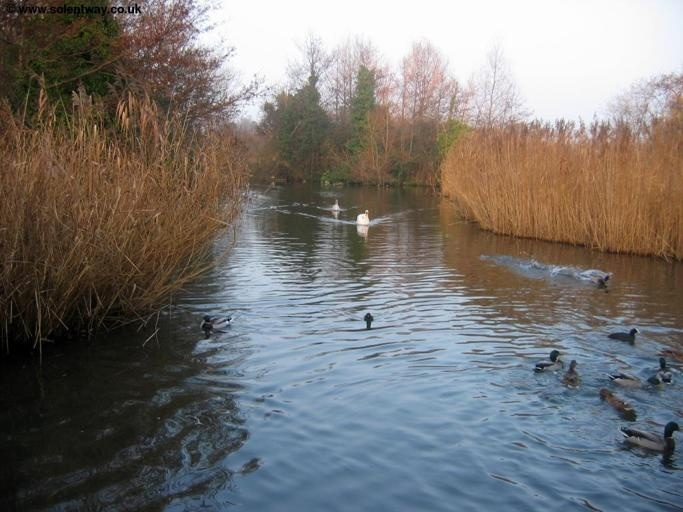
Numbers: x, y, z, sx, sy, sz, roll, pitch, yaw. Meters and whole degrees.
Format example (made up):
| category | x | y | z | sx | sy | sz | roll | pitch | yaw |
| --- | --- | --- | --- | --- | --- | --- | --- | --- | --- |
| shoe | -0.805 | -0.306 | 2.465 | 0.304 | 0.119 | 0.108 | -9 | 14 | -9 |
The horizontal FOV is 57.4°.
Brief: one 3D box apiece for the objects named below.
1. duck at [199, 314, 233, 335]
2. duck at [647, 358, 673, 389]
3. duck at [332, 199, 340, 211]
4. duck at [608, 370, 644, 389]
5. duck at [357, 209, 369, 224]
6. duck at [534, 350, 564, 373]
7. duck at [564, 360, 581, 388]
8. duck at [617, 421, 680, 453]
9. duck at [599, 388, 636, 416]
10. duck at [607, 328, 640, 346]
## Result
| category | x | y | z | sx | sy | sz | roll | pitch | yaw |
| --- | --- | --- | --- | --- | --- | --- | --- | --- | --- |
| duck | -2.387 | 1.286 | 11.858 | 0.333 | 0.221 | 0.451 | 5 | 10 | 26 |
| duck | 4.958 | 1.838 | 9.707 | 0.304 | 0.559 | 0.380 | 2 | 43 | 12 |
| duck | -0.304 | -2.653 | 31.980 | 0.463 | 0.585 | 0.800 | 2 | 9 | -1 |
| duck | 4.354 | 1.898 | 9.554 | 0.390 | 0.274 | 0.187 | 3 | -1 | 10 |
| duck | 0.919 | -1.669 | 26.795 | 0.494 | 0.553 | 0.731 | 0 | 10 | 1 |
| duck | 3.339 | 1.702 | 10.077 | 0.491 | 0.353 | 0.274 | -9 | 12 | -28 |
| duck | 3.580 | 1.820 | 9.705 | 0.205 | 0.263 | 0.382 | 2 | 26 | 30 |
| duck | 4.146 | 2.371 | 8.396 | 0.641 | 0.488 | 0.367 | 8 | -2 | 25 |
| duck | 4.025 | 2.142 | 9.127 | 0.176 | 0.211 | 0.505 | -28 | 22 | -7 |
| duck | 5.041 | 1.423 | 11.198 | 0.452 | 0.327 | 0.262 | 4 | 3 | 32 |
